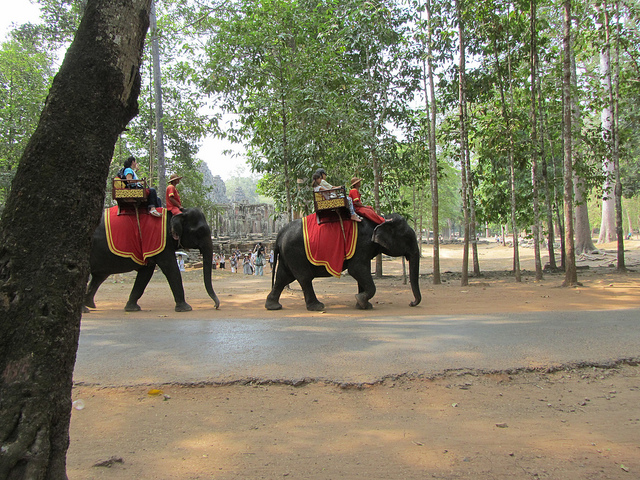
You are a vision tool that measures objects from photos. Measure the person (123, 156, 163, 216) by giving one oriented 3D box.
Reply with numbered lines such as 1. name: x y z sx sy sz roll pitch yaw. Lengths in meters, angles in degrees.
1. person: -3.537 -1.069 11.190 0.713 1.114 0.460 -2 4 -15

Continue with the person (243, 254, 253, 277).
1. person: -3.319 1.140 25.991 0.356 0.851 1.293 -2 9 -5

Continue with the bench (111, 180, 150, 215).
1. bench: -3.607 -0.817 10.702 0.576 0.709 0.769 -1 -1 -7

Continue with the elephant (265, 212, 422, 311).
1. elephant: 0.468 0.413 11.470 3.203 1.975 1.524 -1 2 0

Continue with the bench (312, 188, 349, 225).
1. bench: 0.188 -0.747 11.071 0.695 0.638 0.788 -10 8 -4

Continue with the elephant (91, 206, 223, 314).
1. elephant: -3.296 0.338 11.193 2.215 2.066 0.988 -5 9 -22

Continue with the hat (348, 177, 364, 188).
1. hat: 0.771 -1.266 12.005 0.276 0.083 0.279 -27 0 26
